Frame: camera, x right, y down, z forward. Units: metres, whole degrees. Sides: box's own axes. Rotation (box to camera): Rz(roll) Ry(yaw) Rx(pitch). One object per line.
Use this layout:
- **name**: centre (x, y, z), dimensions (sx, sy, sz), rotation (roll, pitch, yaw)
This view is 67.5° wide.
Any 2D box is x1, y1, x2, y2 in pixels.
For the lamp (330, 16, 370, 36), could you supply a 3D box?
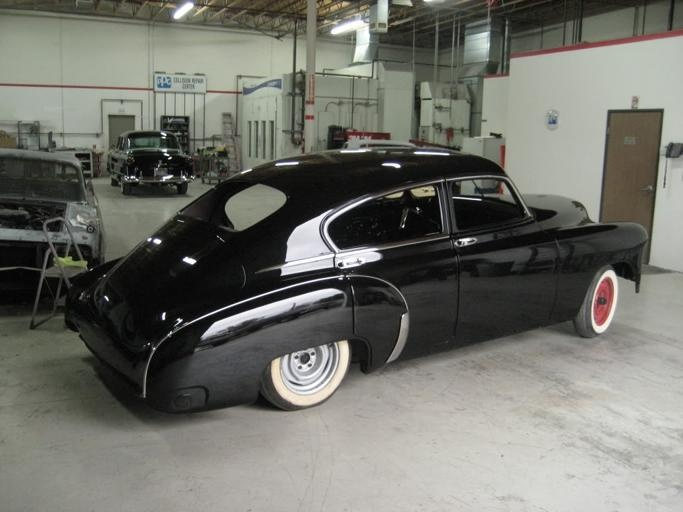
- **lamp**: centre (0.388, -8.494, 18.933), dimensions (1.099, 0.357, 2.129), rotation (-4, 12, -20)

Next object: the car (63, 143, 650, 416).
- **car**: centre (0.084, -0.007, 3.970), dimensions (3.859, 1.534, 1.151), rotation (-6, 14, -28)
